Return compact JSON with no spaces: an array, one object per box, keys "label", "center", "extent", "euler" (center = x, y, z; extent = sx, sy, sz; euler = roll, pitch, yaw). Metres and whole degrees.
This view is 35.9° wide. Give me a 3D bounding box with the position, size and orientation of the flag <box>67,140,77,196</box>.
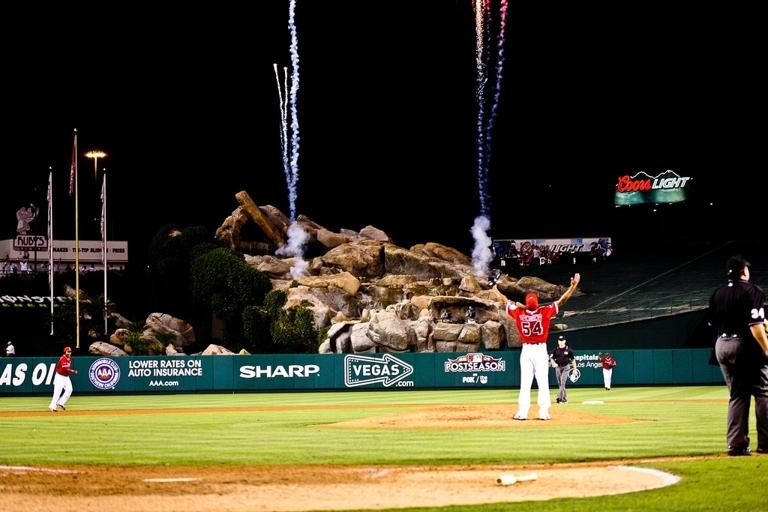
[{"label":"flag","center":[-28.576,-8.329,107.727],"extent":[0.482,5.232,0.997],"euler":[3,-10,-7]}]
